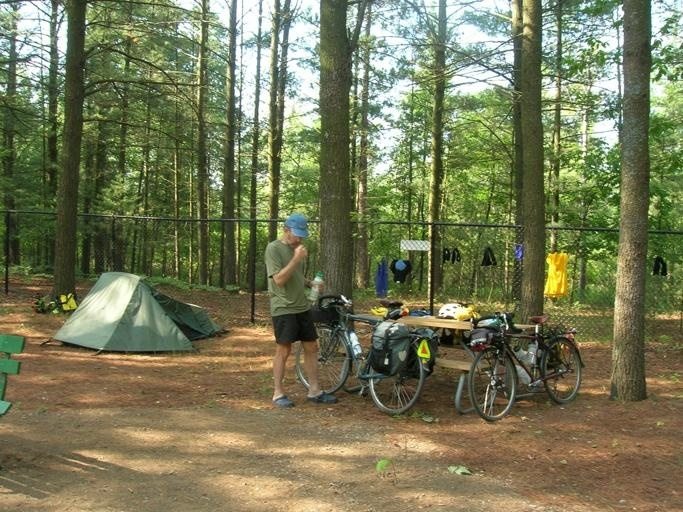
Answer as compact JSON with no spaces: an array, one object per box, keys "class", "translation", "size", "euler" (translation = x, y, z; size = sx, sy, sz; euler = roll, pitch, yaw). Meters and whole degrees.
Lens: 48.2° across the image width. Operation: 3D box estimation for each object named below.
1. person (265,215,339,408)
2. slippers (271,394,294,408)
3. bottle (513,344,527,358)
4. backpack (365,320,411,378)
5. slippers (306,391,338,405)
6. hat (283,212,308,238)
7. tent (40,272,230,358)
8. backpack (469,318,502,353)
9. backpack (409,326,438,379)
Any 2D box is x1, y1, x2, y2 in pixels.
[{"class":"person","translation":[-0.754,0.880,12.458],"size":[0.715,3.126,0.937],"euler":[0,1,44]},{"class":"slippers","translation":[-0.928,2.379,12.437],"size":[0.322,0.097,0.187],"euler":[-5,-6,43]},{"class":"bottle","translation":[3.034,1.605,12.823],"size":[0.222,0.215,0.054],"euler":[-28,-43,-13]},{"class":"backpack","translation":[0.786,1.491,12.165],"size":[0.614,0.870,0.298],"euler":[0,0,34]},{"class":"slippers","translation":[-0.287,2.353,12.596],"size":[0.425,0.114,0.199],"euler":[1,-1,7]},{"class":"hat","translation":[-0.719,-0.490,12.430],"size":[0.363,0.386,0.323],"euler":[0,0,-4]},{"class":"tent","translation":[-4.191,1.098,16.554],"size":[3.342,0.983,3.304],"euler":[-4,9,-43]},{"class":"backpack","translation":[2.312,1.254,12.152],"size":[0.438,0.500,0.575],"euler":[0,0,23]},{"class":"backpack","translation":[1.341,1.518,12.146],"size":[0.391,0.710,0.413],"euler":[0,0,5]}]
